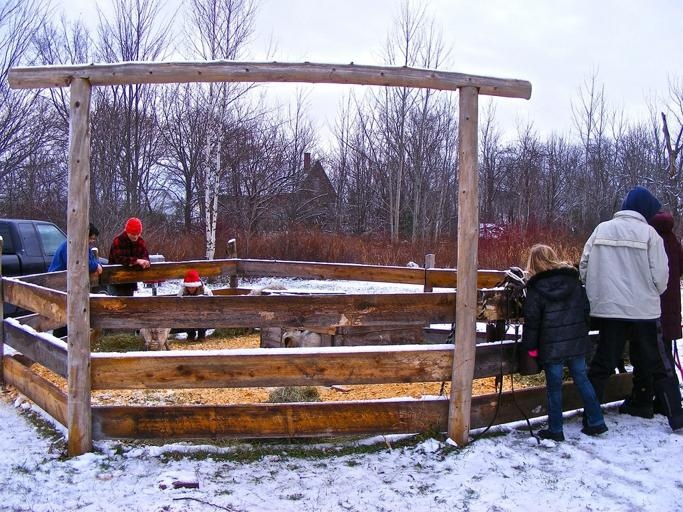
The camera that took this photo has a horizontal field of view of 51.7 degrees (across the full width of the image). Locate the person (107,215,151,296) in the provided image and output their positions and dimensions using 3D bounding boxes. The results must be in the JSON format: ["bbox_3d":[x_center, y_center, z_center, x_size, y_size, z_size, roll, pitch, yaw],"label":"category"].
[{"bbox_3d":[-3.014,0.020,10.012,0.530,1.154,1.079,-2,5,-18],"label":"person"}]

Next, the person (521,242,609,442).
[{"bbox_3d":[2.133,0.837,6.927,0.810,1.892,0.387,-2,4,-15],"label":"person"}]

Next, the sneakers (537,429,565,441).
[{"bbox_3d":[2.038,1.729,6.867,0.200,0.089,0.114,7,-6,10],"label":"sneakers"}]

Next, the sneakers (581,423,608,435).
[{"bbox_3d":[2.472,1.716,6.963,0.275,0.147,0.104,1,-3,17],"label":"sneakers"}]

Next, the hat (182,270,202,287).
[{"bbox_3d":[-2.070,0.304,9.789,0.187,0.181,0.248,2,-3,-11],"label":"hat"}]

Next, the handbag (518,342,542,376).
[{"bbox_3d":[1.838,1.003,6.899,0.317,0.344,0.184,-4,3,-35],"label":"handbag"}]

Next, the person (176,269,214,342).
[{"bbox_3d":[-2.093,0.717,9.980,0.492,1.075,0.562,7,10,37],"label":"person"}]
